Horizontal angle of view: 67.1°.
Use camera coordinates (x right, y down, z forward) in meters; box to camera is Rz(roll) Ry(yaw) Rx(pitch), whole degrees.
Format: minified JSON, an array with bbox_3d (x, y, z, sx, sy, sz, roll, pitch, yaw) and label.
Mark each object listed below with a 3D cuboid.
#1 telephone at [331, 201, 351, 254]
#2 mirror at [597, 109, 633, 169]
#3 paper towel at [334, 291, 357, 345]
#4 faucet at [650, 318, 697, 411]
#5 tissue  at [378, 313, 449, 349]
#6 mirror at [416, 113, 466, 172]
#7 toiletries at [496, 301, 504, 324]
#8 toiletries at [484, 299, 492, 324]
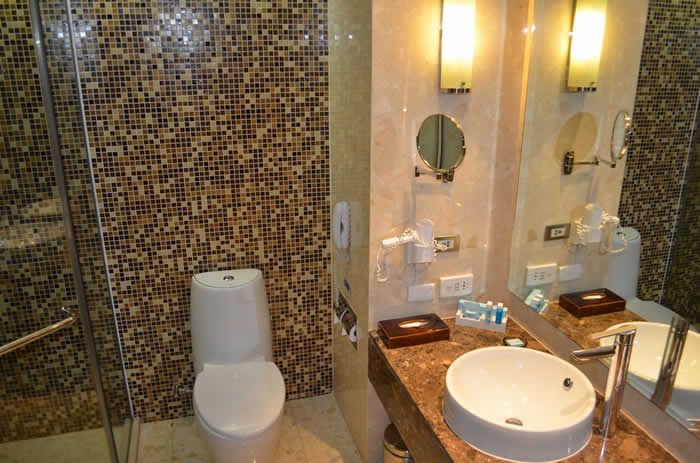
[{"bbox_3d":[-0.045,-0.045,3.047,0.068,0.240,0.164,-4,30,6],"label":"telephone"},{"bbox_3d":[1.175,-0.414,2.343,0.045,0.247,0.141,-7,17,-17],"label":"mirror"},{"bbox_3d":[-0.015,0.557,3.313,0.093,0.212,0.352,-5,18,-17],"label":"paper towel"},{"bbox_3d":[1.322,0.546,2.185,0.062,0.405,0.083,-15,21,-37],"label":"faucet"},{"bbox_3d":[0.344,0.545,2.916,0.360,0.092,0.204,-5,15,-10],"label":"tissue "},{"bbox_3d":[0.477,-0.477,2.799,0.262,0.317,0.027,2,-8,-2],"label":"mirror"},{"bbox_3d":[0.808,0.442,2.878,0.035,0.111,0.051,2,17,13],"label":"toiletries"},{"bbox_3d":[0.762,0.445,2.922,0.044,0.105,0.065,3,17,17],"label":"toiletries"}]
